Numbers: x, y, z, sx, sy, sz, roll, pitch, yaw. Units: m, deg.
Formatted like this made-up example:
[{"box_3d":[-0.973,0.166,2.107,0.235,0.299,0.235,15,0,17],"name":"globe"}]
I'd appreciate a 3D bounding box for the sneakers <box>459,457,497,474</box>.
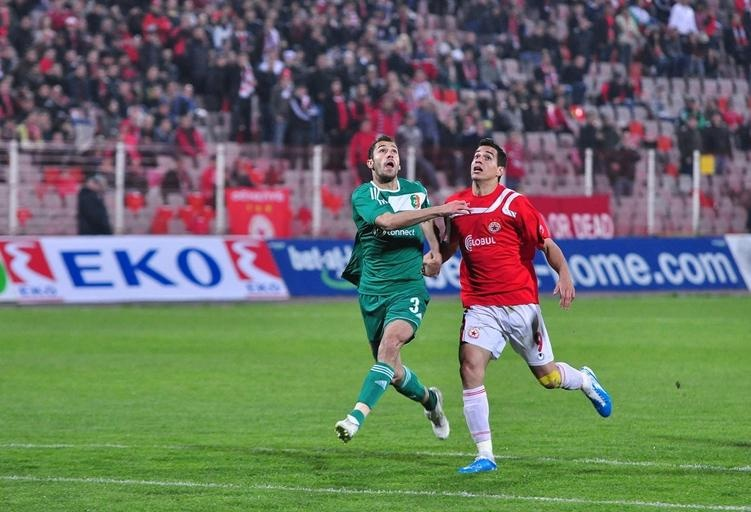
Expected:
[{"box_3d":[1.374,2.800,20.771,0.426,0.158,0.212,2,-11,-5],"name":"sneakers"}]
